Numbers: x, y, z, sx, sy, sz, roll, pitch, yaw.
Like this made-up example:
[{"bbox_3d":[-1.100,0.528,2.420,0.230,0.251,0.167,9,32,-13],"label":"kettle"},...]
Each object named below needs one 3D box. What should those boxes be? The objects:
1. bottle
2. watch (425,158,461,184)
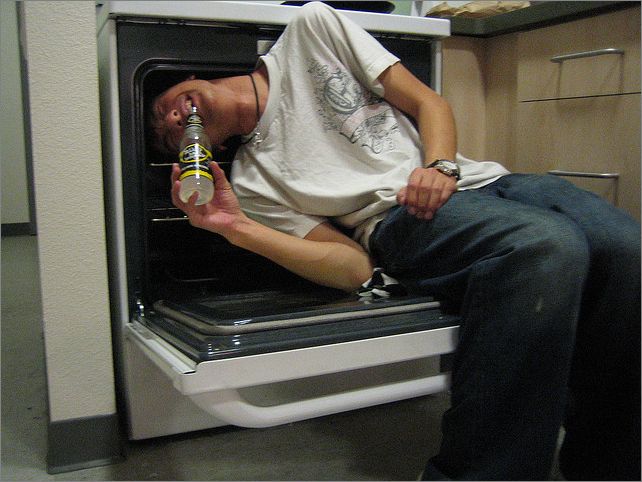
[{"bbox_3d":[-0.272,-0.174,1.106,0.071,0.199,0.189,-3,16,-12],"label":"bottle"},{"bbox_3d":[0.270,-0.148,1.117,0.074,0.022,0.051,18,11,-19],"label":"watch"}]
